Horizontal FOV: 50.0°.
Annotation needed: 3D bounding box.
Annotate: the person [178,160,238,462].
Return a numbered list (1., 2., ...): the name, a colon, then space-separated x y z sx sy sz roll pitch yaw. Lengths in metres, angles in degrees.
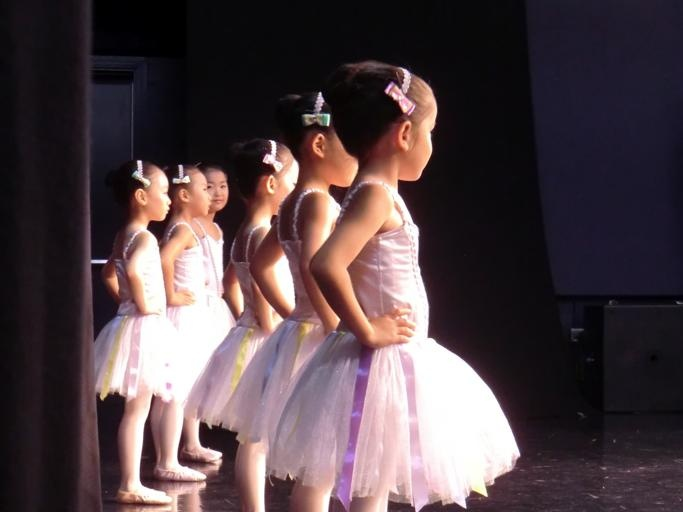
1. person: -0.632 0.341 3.847 0.372 1.096 0.329 -3 41 -12

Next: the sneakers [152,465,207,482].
1. sneakers: -0.732 0.982 3.299 0.173 0.058 0.094 0 -1 2

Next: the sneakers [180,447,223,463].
1. sneakers: -0.709 0.986 3.667 0.153 0.064 0.086 -2 0 10

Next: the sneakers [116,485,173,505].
1. sneakers: -0.792 0.973 2.935 0.164 0.068 0.090 -1 -1 -3

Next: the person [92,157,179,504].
1. person: -0.867 0.290 3.084 0.319 1.422 0.415 0 1 -19
